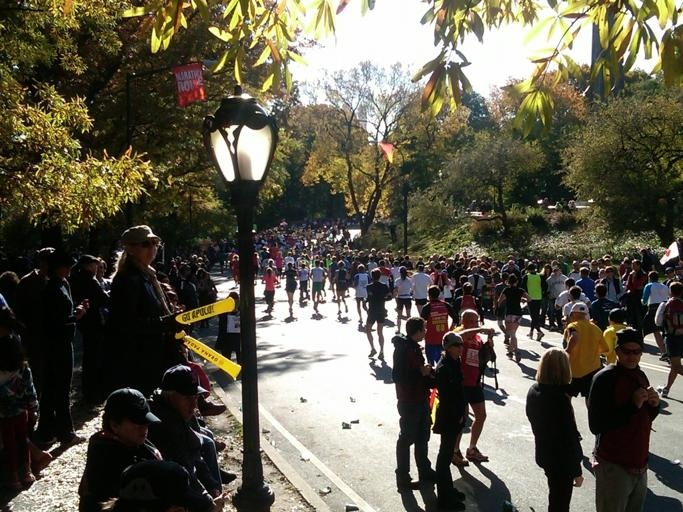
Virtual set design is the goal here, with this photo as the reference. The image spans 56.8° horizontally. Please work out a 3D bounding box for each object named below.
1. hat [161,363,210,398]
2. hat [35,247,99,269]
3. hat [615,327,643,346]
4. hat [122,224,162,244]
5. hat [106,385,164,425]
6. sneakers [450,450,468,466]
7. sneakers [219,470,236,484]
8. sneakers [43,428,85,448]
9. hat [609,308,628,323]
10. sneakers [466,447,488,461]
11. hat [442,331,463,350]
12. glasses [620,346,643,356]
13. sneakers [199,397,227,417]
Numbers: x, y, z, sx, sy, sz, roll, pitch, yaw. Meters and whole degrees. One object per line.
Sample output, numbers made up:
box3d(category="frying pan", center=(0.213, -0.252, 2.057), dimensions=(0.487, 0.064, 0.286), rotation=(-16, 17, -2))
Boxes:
box3d(category="hat", center=(-1.586, 1.246, 6.225), dimensions=(0.401, 0.352, 0.306), rotation=(-3, 6, -20))
box3d(category="hat", center=(-4.241, 0.048, 9.403), dimensions=(0.646, 0.235, 0.445), rotation=(2, 4, -15))
box3d(category="hat", center=(3.040, 0.851, 6.737), dimensions=(0.186, 0.159, 0.203), rotation=(3, -2, -4))
box3d(category="hat", center=(-2.022, -0.215, 6.339), dimensions=(0.284, 0.133, 0.218), rotation=(-3, 8, -24))
box3d(category="hat", center=(-1.761, 1.222, 5.322), dimensions=(0.347, 0.239, 0.278), rotation=(10, 0, -3))
box3d(category="sneakers", center=(1.676, 2.905, 9.056), dimensions=(0.115, 0.152, 0.351), rotation=(-3, -3, -16))
box3d(category="sneakers", center=(-1.461, 2.796, 8.066), dimensions=(0.157, 0.076, 0.233), rotation=(17, -10, -10))
box3d(category="sneakers", center=(-4.024, 2.673, 9.108), dimensions=(0.576, 0.181, 0.226), rotation=(-8, 37, -29))
box3d(category="hat", center=(4.531, 0.983, 10.370), dimensions=(0.228, 0.275, 0.516), rotation=(2, 7, 24))
box3d(category="sneakers", center=(1.922, 2.871, 9.101), dimensions=(0.351, 0.192, 0.137), rotation=(3, 8, 4))
box3d(category="hat", center=(1.451, 1.068, 8.288), dimensions=(0.223, 0.223, 0.181), rotation=(-19, 16, 10))
box3d(category="glasses", center=(3.078, 0.996, 6.669), dimensions=(0.255, 0.090, 0.080), rotation=(-2, 6, -10))
box3d(category="sneakers", center=(-1.469, 1.691, 7.093), dimensions=(0.293, 0.252, 0.228), rotation=(-2, 6, -11))
